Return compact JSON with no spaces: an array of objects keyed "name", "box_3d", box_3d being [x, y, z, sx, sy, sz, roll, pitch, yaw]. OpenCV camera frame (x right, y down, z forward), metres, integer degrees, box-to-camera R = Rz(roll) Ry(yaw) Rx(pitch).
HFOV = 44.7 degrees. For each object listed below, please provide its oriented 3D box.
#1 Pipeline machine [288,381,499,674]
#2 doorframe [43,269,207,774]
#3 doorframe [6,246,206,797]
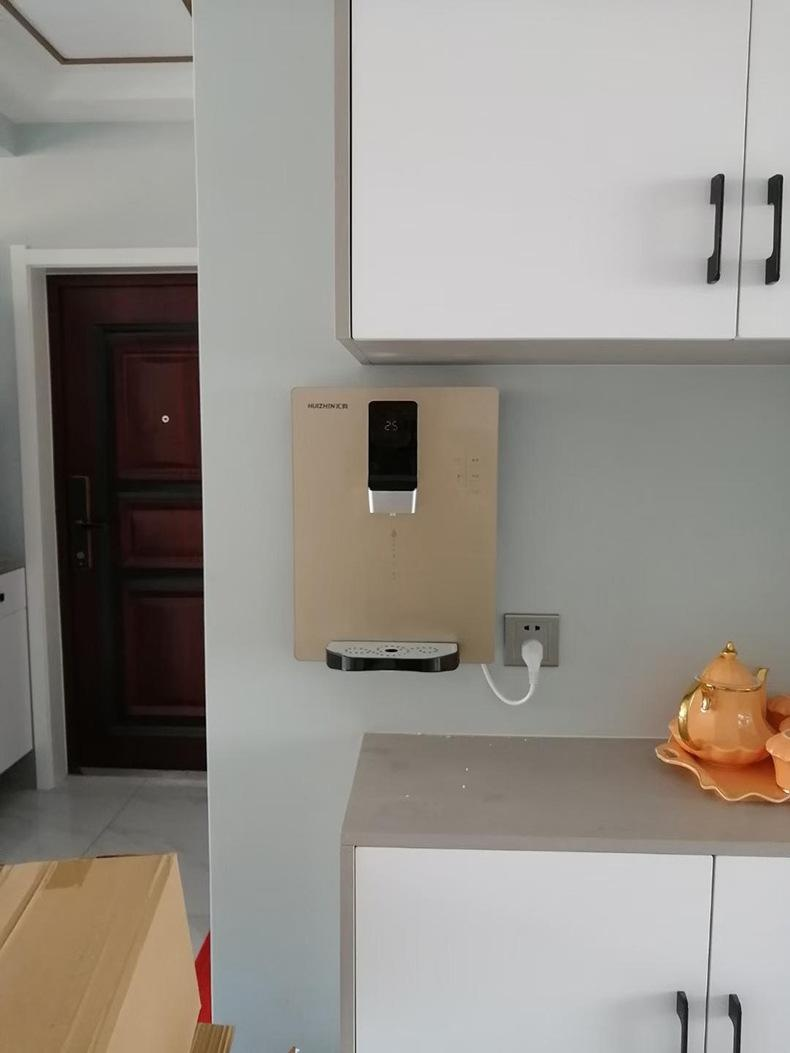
[{"name":"Pipeline machine","box_3d":[0.003,-0.008,1.579,0.326,0.453,0.253,0,15,0]},{"name":"doorframe","box_3d":[-0.821,-0.017,3.344,0.573,1.617,0.167,0,-7,-24]},{"name":"doorframe","box_3d":[-1.087,-0.027,3.223,0.536,1.272,0.224,8,3,1]}]
